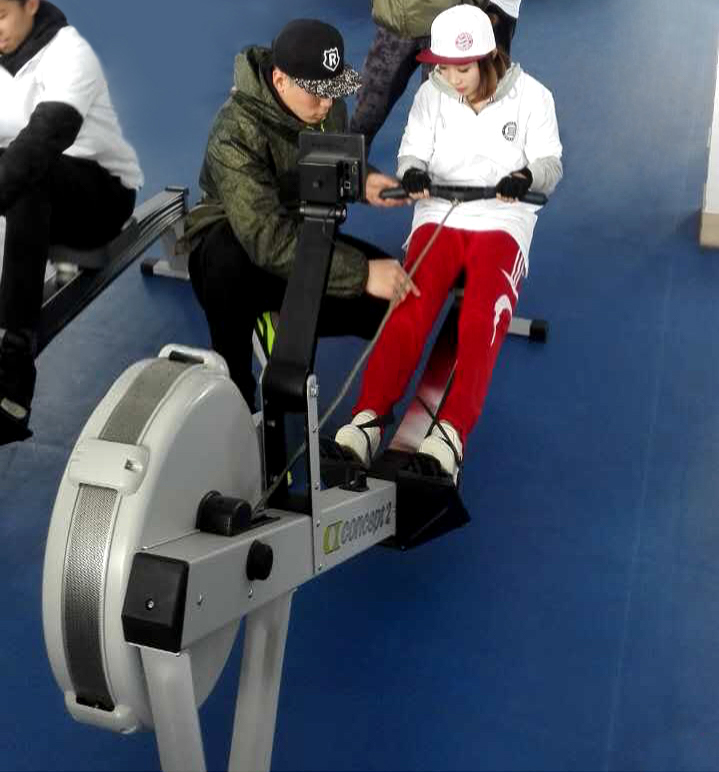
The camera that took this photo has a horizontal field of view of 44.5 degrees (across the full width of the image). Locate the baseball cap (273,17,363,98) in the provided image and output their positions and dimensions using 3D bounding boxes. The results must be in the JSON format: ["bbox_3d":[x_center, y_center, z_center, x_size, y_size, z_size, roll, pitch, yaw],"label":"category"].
[{"bbox_3d":[-0.078,-0.878,2.299,0.133,0.240,0.155,-11,100,-5],"label":"baseball cap"}]

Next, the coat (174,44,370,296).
[{"bbox_3d":[-0.257,-0.590,2.615,0.436,0.680,0.470,7,15,-20],"label":"coat"}]

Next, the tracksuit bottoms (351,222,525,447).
[{"bbox_3d":[0.252,-0.203,2.440,0.295,0.169,0.819,7,68,27],"label":"tracksuit bottoms"}]

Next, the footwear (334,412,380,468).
[{"bbox_3d":[0.022,0.125,2.296,0.075,0.231,0.121,23,96,22],"label":"footwear"}]

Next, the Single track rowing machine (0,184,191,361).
[{"bbox_3d":[-0.851,-0.407,2.939,0.228,0.379,0.995,18,29,13],"label":"Single track rowing machine"}]

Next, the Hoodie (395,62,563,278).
[{"bbox_3d":[0.368,-0.793,2.768,0.473,0.751,0.560,-4,73,3],"label":"Hoodie"}]
